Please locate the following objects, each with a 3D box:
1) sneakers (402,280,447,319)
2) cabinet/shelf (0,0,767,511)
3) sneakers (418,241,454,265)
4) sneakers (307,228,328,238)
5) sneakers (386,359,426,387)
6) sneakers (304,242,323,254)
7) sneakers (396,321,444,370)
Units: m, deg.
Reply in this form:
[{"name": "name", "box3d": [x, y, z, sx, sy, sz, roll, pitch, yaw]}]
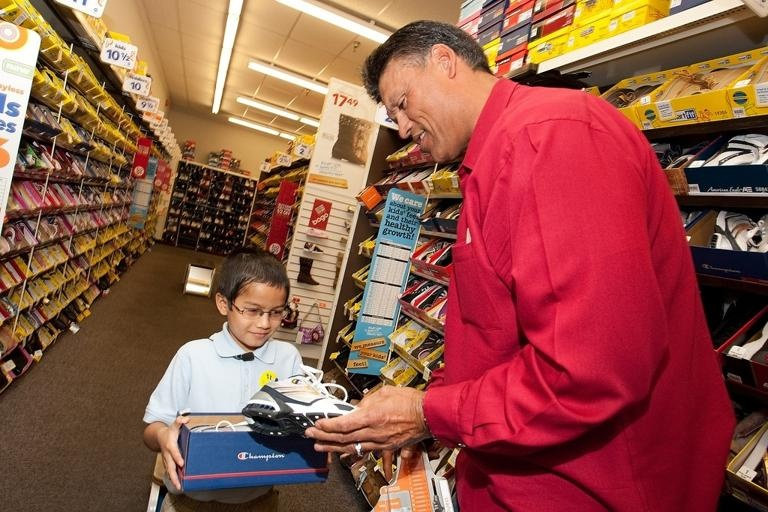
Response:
[{"name": "sneakers", "box3d": [0.336, 0.341, 3.494, 0.208, 0.098, 0.329, -9, 12, -10]}, {"name": "cabinet/shelf", "box3d": [0.324, 0.006, 1.986, 1.244, 1.799, 1.481, 0, 9, 4]}, {"name": "sneakers", "box3d": [0.429, -0.044, 3.598, 0.299, 0.103, 0.171, -43, 31, -26]}, {"name": "sneakers", "box3d": [-0.836, -0.302, 5.392, 0.275, 0.110, 0.089, 3, 16, -13]}, {"name": "sneakers", "box3d": [0.154, 1.028, 3.675, 0.215, 0.092, 0.285, -14, 19, -32]}, {"name": "sneakers", "box3d": [-0.910, -0.112, 5.462, 0.249, 0.101, 0.088, 8, 11, -15]}, {"name": "sneakers", "box3d": [0.281, 0.717, 3.485, 0.212, 0.307, 0.079, 48, -3, 41]}]
